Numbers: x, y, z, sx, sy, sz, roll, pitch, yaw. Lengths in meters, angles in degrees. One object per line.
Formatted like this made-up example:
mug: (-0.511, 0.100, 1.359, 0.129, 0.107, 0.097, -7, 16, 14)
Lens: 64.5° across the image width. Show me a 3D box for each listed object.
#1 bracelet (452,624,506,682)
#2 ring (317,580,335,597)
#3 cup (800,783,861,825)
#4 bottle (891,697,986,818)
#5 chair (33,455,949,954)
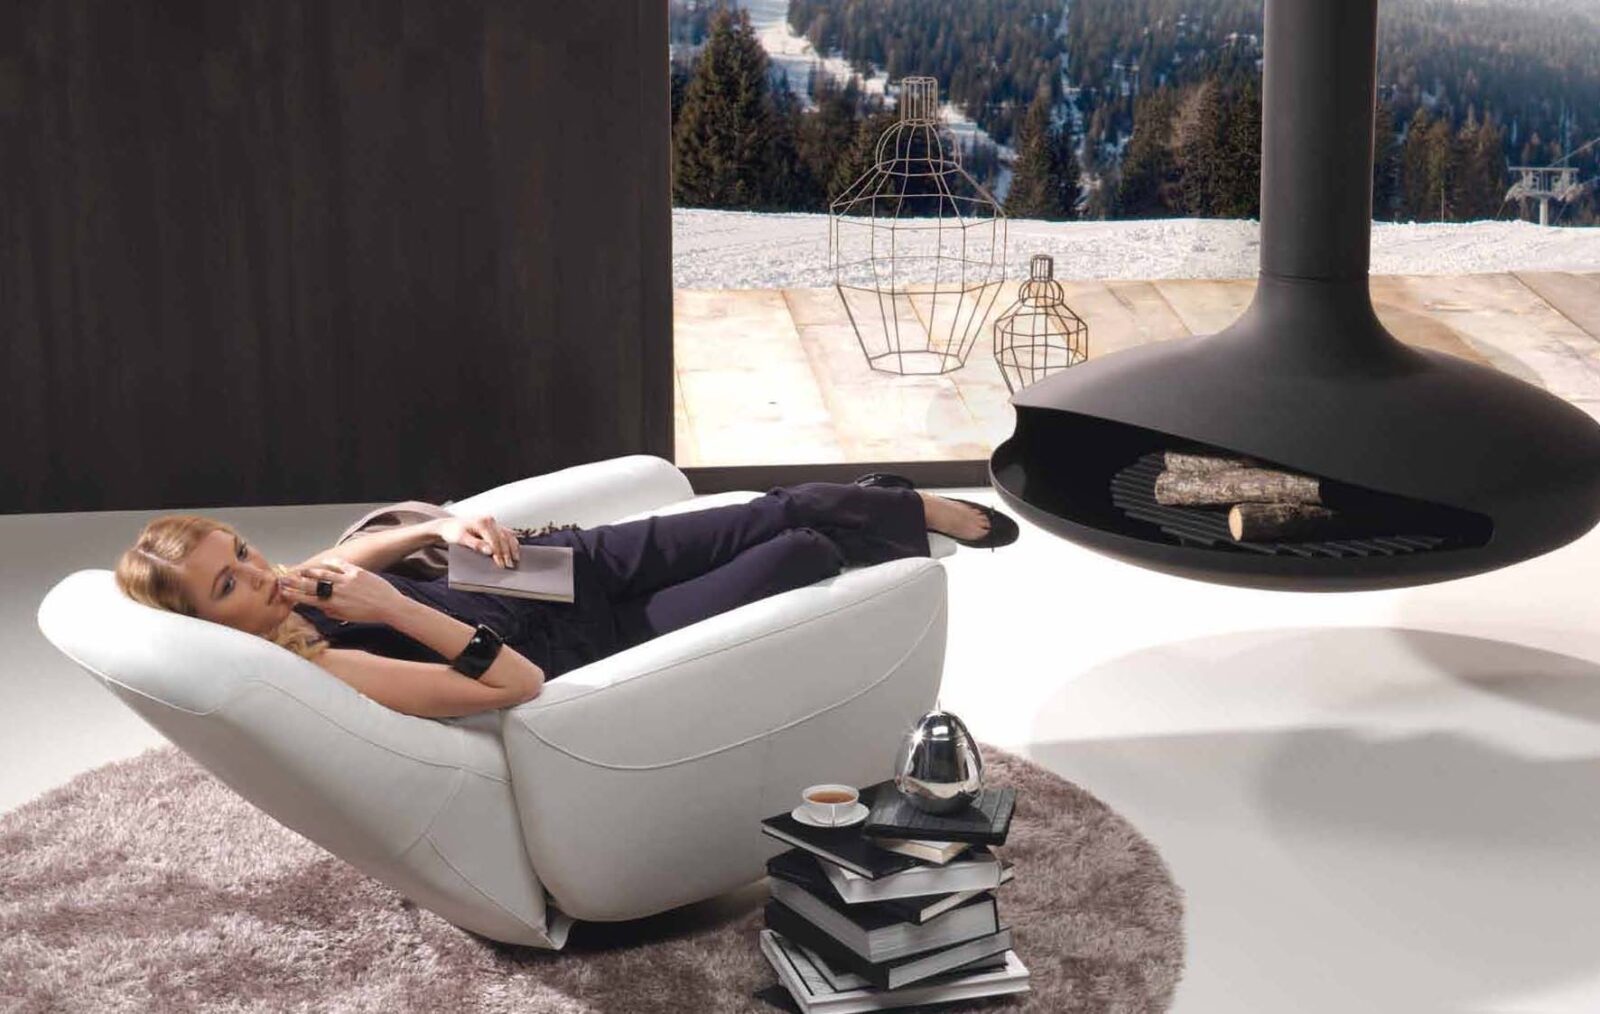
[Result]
bracelet: (-0.675, 0.315, 2.714, 0.114, 0.082, 0.118, -10, 49, 54)
ring: (-0.999, 0.175, 2.677, 0.027, 0.037, 0.035, 1, 12, -18)
cup: (0.058, 0.617, 2.648, 0.095, 0.040, 0.075, -11, 21, -26)
bottle: (0.277, 0.541, 2.710, 0.188, 0.238, 0.182, 0, 2, 0)
chair: (-0.723, 0.418, 3.237, 1.831, 0.917, 1.309, -12, 21, -31)
